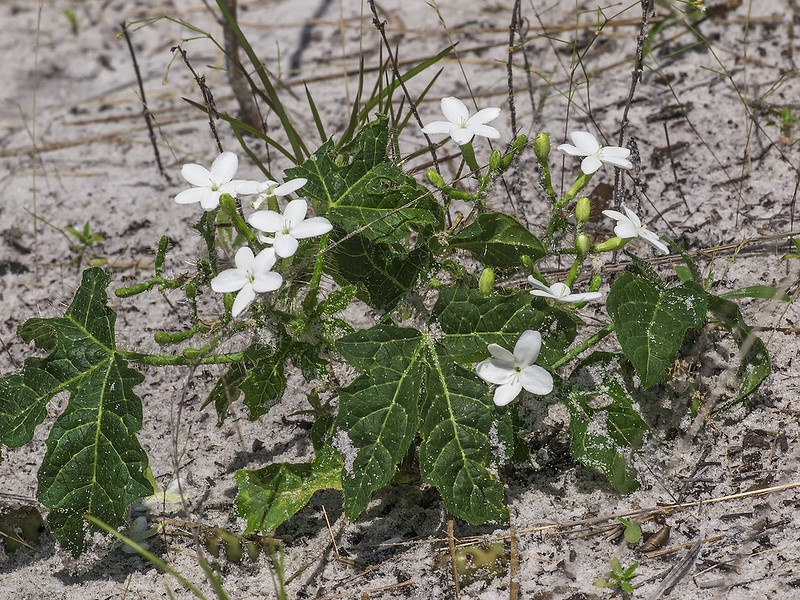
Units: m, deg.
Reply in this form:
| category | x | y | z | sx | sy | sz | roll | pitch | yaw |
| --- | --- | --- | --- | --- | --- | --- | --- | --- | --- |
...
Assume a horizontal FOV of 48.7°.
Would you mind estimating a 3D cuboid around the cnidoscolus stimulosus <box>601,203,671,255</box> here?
| category | x | y | z | sx | sy | sz | roll | pitch | yaw |
| --- | --- | --- | --- | --- | --- | --- | --- | --- | --- |
| cnidoscolus stimulosus | 1.018 | -0.275 | 3.809 | 0.235 | 0.072 | 0.260 | -5 | 10 | -4 |

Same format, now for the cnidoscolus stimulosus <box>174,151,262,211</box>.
| category | x | y | z | sx | sy | sz | roll | pitch | yaw |
| --- | --- | --- | --- | --- | --- | --- | --- | --- | --- |
| cnidoscolus stimulosus | -0.797 | -0.458 | 3.896 | 0.290 | 0.300 | 0.079 | 0 | -24 | 8 |

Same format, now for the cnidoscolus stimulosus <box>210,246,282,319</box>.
| category | x | y | z | sx | sy | sz | roll | pitch | yaw |
| --- | --- | --- | --- | --- | --- | --- | --- | --- | --- |
| cnidoscolus stimulosus | -0.624 | -0.095 | 3.624 | 0.264 | 0.291 | 0.096 | -13 | -22 | 14 |

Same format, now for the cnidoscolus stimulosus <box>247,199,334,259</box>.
| category | x | y | z | sx | sy | sz | roll | pitch | yaw |
| --- | --- | --- | --- | --- | --- | --- | --- | --- | --- |
| cnidoscolus stimulosus | -0.463 | -0.303 | 3.704 | 0.253 | 0.286 | 0.075 | 8 | -20 | 6 |

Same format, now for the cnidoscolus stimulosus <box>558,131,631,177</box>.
| category | x | y | z | sx | sy | sz | roll | pitch | yaw |
| --- | --- | --- | --- | --- | --- | --- | --- | --- | --- |
| cnidoscolus stimulosus | 0.848 | -0.642 | 3.920 | 0.266 | 0.076 | 0.243 | -14 | 25 | -41 |

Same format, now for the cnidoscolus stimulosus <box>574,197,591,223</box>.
| category | x | y | z | sx | sy | sz | roll | pitch | yaw |
| --- | --- | --- | --- | --- | --- | --- | --- | --- | --- |
| cnidoscolus stimulosus | 0.802 | -0.392 | 3.890 | 0.063 | 0.129 | 0.109 | -8 | -8 | 12 |

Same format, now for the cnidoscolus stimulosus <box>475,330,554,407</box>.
| category | x | y | z | sx | sy | sz | roll | pitch | yaw |
| --- | --- | --- | --- | --- | --- | --- | --- | --- | --- |
| cnidoscolus stimulosus | 0.495 | 0.276 | 3.627 | 0.221 | 0.132 | 0.330 | -14 | 21 | 23 |

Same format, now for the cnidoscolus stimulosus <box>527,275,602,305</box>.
| category | x | y | z | sx | sy | sz | roll | pitch | yaw |
| --- | --- | --- | --- | --- | --- | --- | --- | --- | --- |
| cnidoscolus stimulosus | 0.695 | -0.049 | 3.752 | 0.283 | 0.129 | 0.209 | -8 | -9 | 9 |
